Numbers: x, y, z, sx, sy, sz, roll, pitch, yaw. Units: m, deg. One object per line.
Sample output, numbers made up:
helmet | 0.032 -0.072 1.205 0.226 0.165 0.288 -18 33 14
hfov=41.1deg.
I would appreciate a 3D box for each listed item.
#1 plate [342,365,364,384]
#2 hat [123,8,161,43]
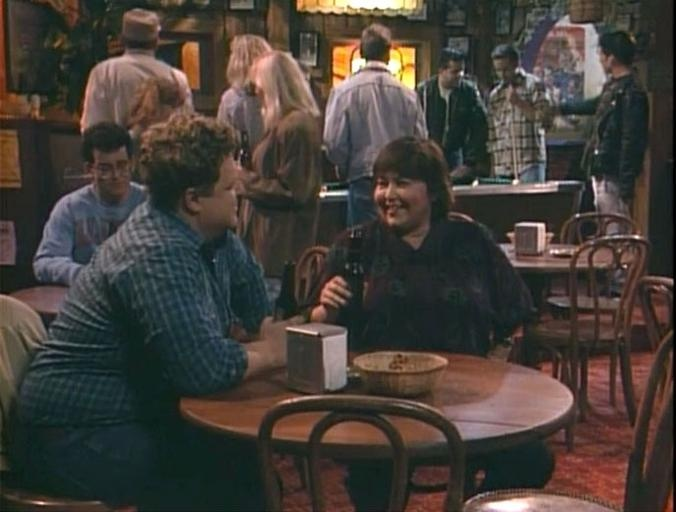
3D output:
plate | 0.053 0.411 3.116 0.056 0.033 0.085 4 -4 -3
hat | -1.054 -1.223 4.830 0.170 0.137 0.175 27 37 34
